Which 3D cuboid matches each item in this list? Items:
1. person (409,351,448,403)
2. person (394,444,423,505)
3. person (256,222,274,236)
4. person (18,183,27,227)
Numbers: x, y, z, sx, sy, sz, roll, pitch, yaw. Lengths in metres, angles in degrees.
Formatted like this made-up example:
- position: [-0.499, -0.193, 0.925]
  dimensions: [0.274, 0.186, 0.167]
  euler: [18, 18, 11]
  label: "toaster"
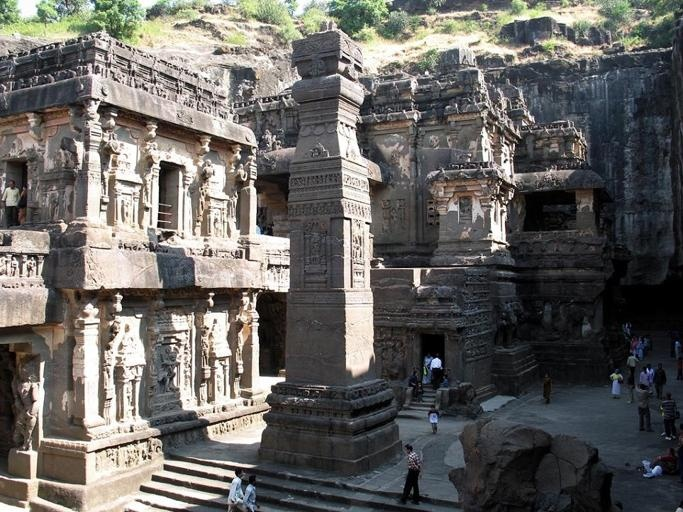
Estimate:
- position: [3.084, 4.285, 31.205]
  dimensions: [1.344, 1.609, 0.926]
  euler: [-4, -6, 6]
  label: "person"
- position: [1.814, 5.699, 23.212]
  dimensions: [0.601, 1.500, 0.829]
  euler: [-3, -6, 3]
  label: "person"
- position: [-3.618, -1.289, 40.420]
  dimensions: [0.809, 0.727, 0.212]
  euler: [-2, -5, 34]
  label: "person"
- position: [-9.545, -1.580, 26.573]
  dimensions: [0.268, 1.316, 0.984]
  euler: [-1, -7, -20]
  label: "person"
